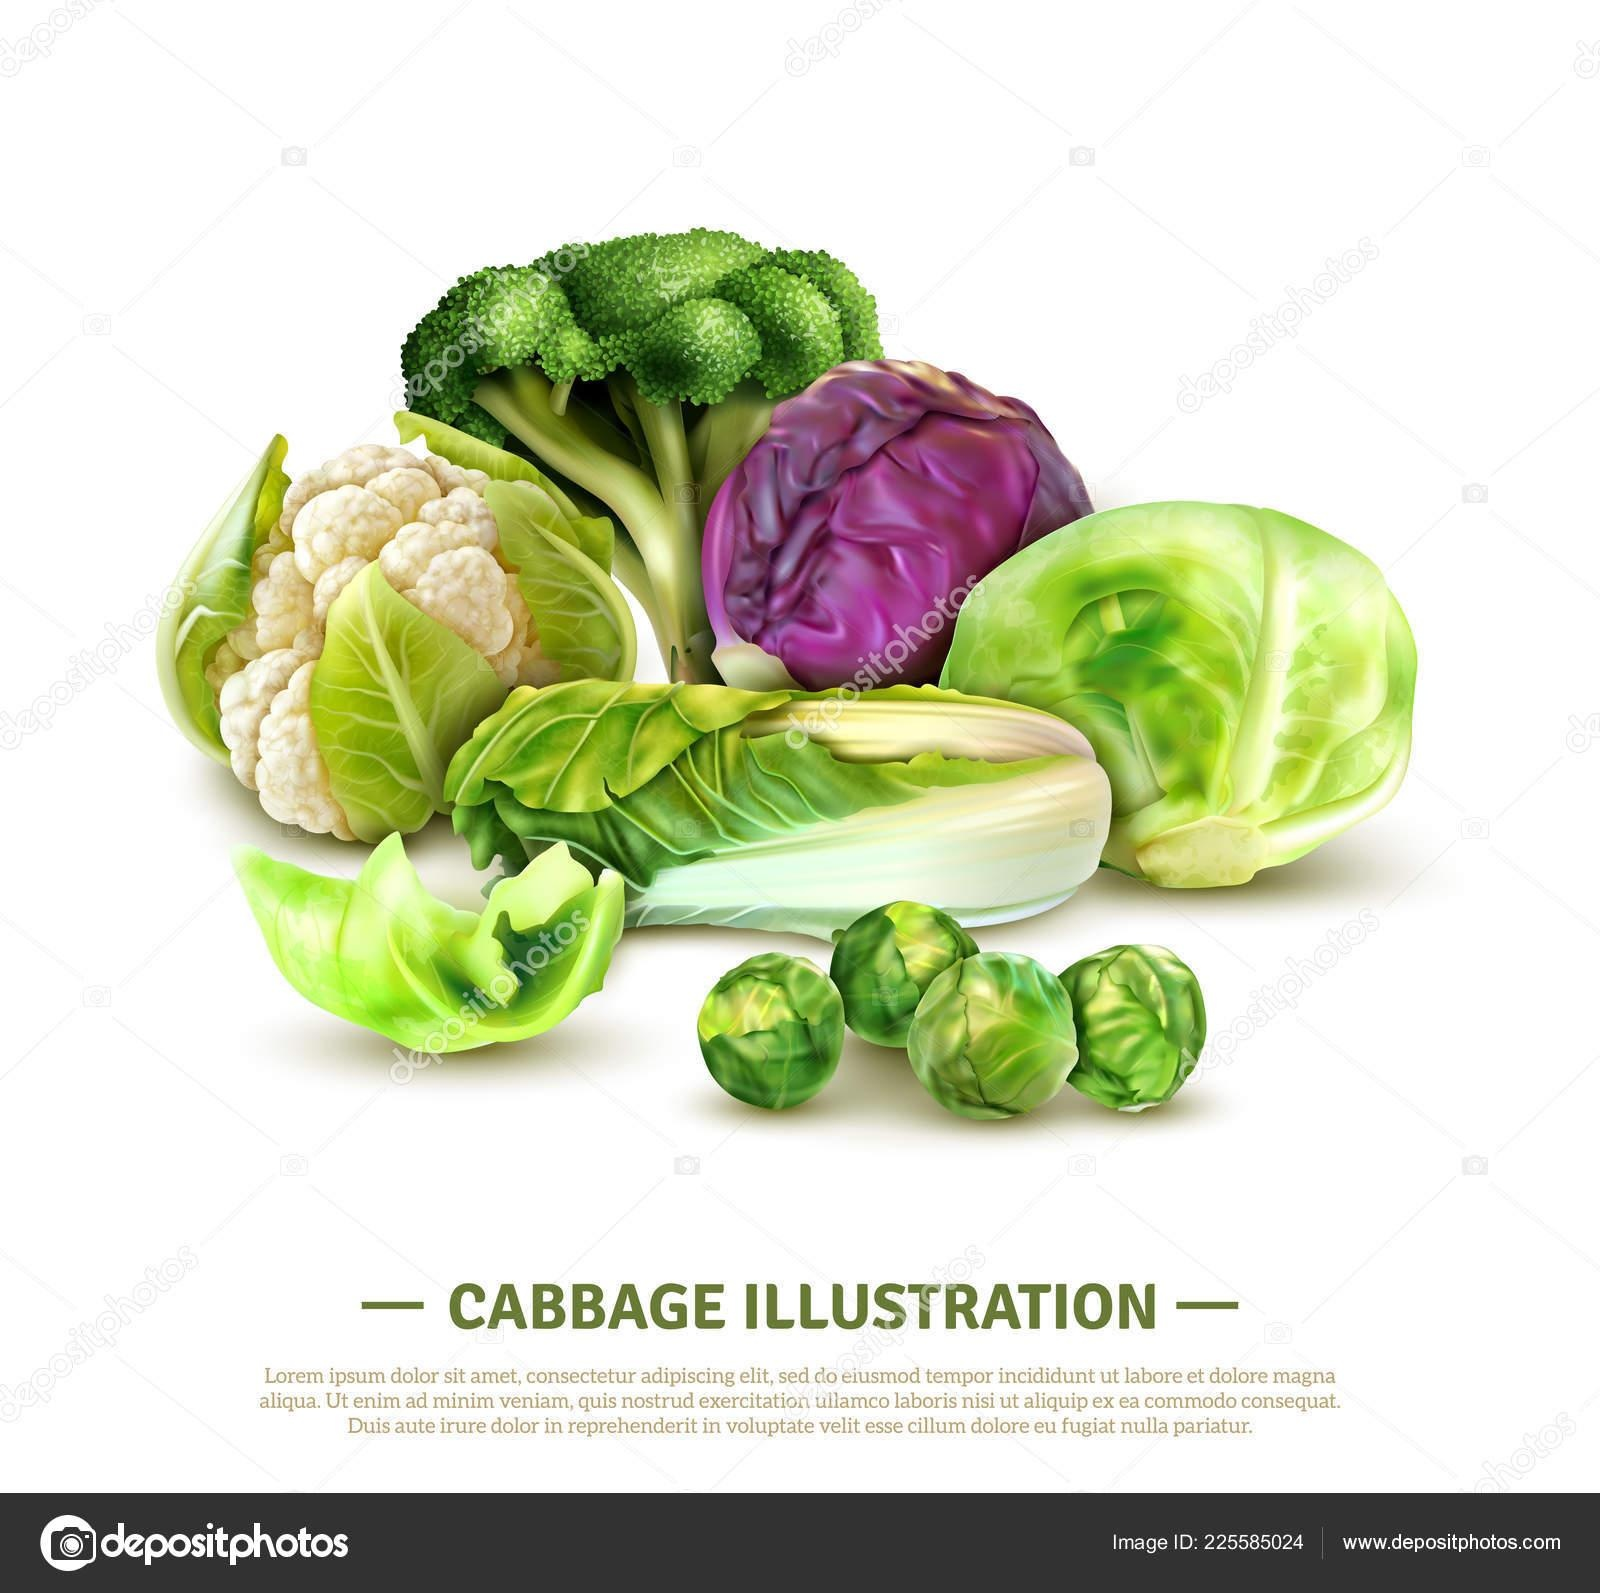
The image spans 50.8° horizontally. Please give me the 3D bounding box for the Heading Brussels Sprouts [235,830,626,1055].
[{"bbox_3d":[-0.842,0.223,3.534,0.528,0.240,0.640,-29,37,-21],"label":"Heading Brussels Sprouts"}]

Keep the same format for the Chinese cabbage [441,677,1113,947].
[{"bbox_3d":[-0.083,0.018,3.968,1.383,0.651,0.487,0,95,2],"label":"Chinese cabbage"}]

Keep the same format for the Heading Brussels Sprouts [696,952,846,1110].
[{"bbox_3d":[-0.057,0.460,3.320,0.279,0.196,0.281,-33,67,-17],"label":"Heading Brussels Sprouts"}]
